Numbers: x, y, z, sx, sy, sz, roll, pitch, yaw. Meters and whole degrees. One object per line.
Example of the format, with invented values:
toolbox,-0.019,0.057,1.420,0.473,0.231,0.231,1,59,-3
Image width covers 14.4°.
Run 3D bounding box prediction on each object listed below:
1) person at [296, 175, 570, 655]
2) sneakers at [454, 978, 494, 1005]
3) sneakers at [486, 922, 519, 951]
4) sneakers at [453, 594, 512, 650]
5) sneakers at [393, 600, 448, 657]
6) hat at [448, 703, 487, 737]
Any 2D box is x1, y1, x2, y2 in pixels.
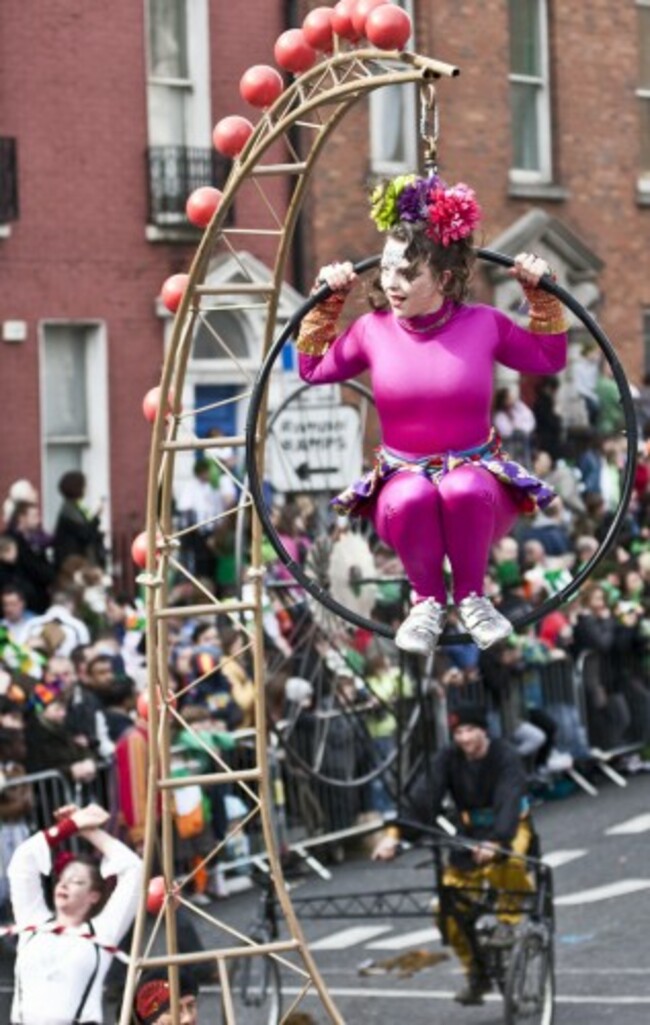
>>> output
person,0.393,-0.340,8.815,0.916,1.500,0.564,-5,-1,8
sneakers,0.608,1.925,10.245,0.096,0.135,0.060,39,0,15
sneakers,0.713,1.675,10.110,0.105,0.114,0.042,8,5,42
sneakers,0.540,0.367,8.716,0.144,0.169,0.247,-3,-2,-38
sneakers,0.327,0.391,8.714,0.144,0.177,0.263,-5,-1,24
hat,0.560,0.808,9.981,0.157,0.098,0.135,-5,-1,14
